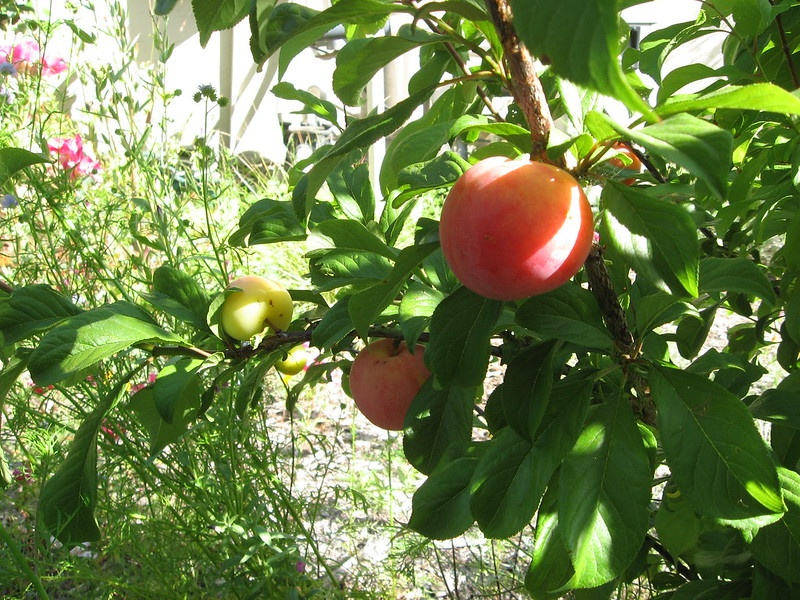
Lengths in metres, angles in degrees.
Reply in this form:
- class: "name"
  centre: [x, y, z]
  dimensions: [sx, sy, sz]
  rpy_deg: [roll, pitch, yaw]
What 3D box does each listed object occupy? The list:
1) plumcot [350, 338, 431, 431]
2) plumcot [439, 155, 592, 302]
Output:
- class: "plumcot"
  centre: [-0.012, 0.149, 1.059]
  dimensions: [0.127, 0.156, 0.141]
  rpy_deg: [-8, 16, -18]
- class: "plumcot"
  centre: [0.126, -0.076, 0.690]
  dimensions: [0.129, 0.142, 0.132]
  rpy_deg: [-5, -36, 29]
